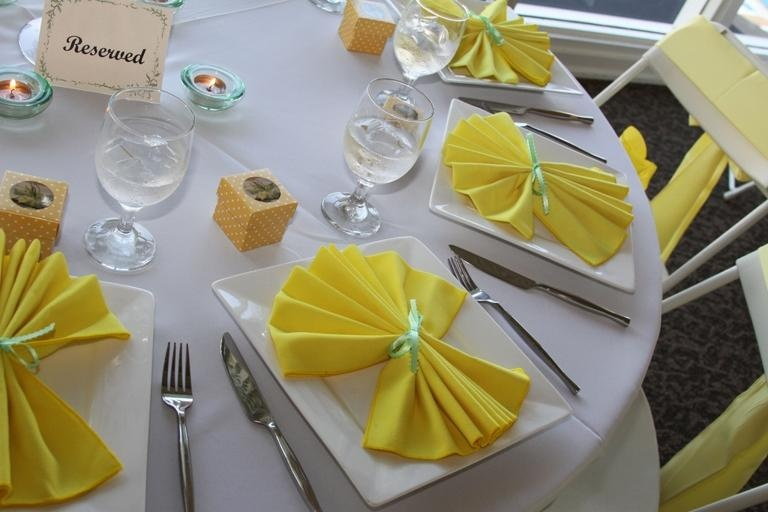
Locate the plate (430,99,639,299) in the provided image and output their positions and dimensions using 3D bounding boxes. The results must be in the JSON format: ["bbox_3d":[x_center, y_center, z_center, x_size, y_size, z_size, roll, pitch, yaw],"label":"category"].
[{"bbox_3d":[0.291,-0.056,1.165,0.456,0.072,0.346,27,58,-10],"label":"plate"}]

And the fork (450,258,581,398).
[{"bbox_3d":[0.223,0.132,1.002,0.029,0.029,0.273,-36,83,-36],"label":"fork"}]

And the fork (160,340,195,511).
[{"bbox_3d":[-0.285,0.206,0.813,0.043,0.034,0.306,7,57,-26],"label":"fork"}]

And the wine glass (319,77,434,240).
[{"bbox_3d":[-0.006,-0.211,1.107,0.152,0.242,0.286,21,48,1],"label":"wine glass"}]

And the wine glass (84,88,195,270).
[{"bbox_3d":[-0.390,-0.108,0.909,0.118,0.248,0.125,10,32,-25],"label":"wine glass"}]
